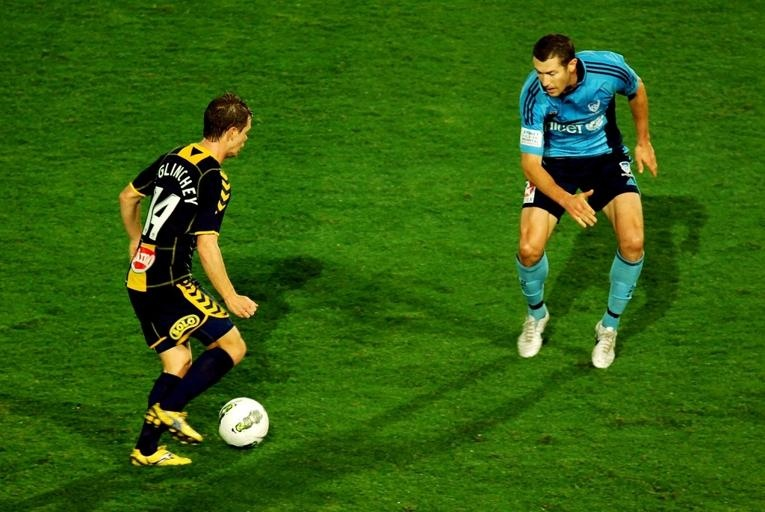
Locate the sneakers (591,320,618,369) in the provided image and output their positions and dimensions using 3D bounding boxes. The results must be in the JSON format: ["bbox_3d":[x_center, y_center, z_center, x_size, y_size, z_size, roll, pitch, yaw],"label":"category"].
[{"bbox_3d":[1.588,0.639,6.861,0.165,0.148,0.366,5,48,7],"label":"sneakers"}]

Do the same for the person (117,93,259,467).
[{"bbox_3d":[-1.252,0.152,6.150,0.803,2.353,0.895,1,18,-15],"label":"person"}]

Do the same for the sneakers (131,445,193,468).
[{"bbox_3d":[-1.429,1.295,6.193,0.430,0.122,0.132,1,1,-9],"label":"sneakers"}]

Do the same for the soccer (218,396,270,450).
[{"bbox_3d":[-0.879,1.084,6.309,0.306,0.267,0.268,-22,56,-27],"label":"soccer"}]

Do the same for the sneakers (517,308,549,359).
[{"bbox_3d":[1.081,0.537,7.020,0.207,0.153,0.477,17,44,5],"label":"sneakers"}]

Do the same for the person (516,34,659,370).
[{"bbox_3d":[1.410,-0.369,6.754,1.062,2.289,0.804,3,18,-9],"label":"person"}]
